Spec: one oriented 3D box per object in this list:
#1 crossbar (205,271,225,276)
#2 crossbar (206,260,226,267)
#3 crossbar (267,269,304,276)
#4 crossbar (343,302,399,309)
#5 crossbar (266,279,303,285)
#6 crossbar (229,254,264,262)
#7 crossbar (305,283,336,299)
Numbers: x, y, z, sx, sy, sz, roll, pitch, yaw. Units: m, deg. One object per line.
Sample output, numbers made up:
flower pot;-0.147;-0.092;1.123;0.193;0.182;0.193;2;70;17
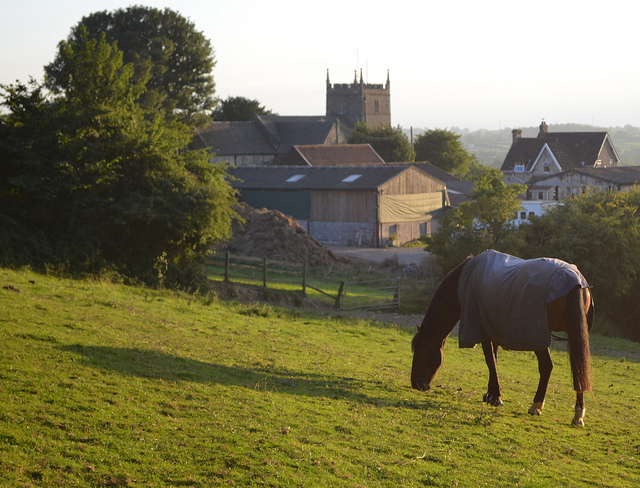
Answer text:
crossbar;-4.745;1.369;50.056;0.691;0.183;1.902;0;3;-9
crossbar;-5.010;0.980;53.377;1.405;0.241;0.859;3;4;39
crossbar;-1.833;1.485;54.970;1.135;0.182;0.148;14;3;-27
crossbar;2.145;2.957;50.950;2.910;0.112;0.161;-2;4;-44
crossbar;-1.718;1.853;52.148;1.606;0.295;0.190;3;-31;-20
crossbar;-3.612;0.744;53.499;1.278;0.190;0.152;16;-3;33
crossbar;-0.024;2.297;51.029;0.981;0.120;0.146;38;-4;-2
